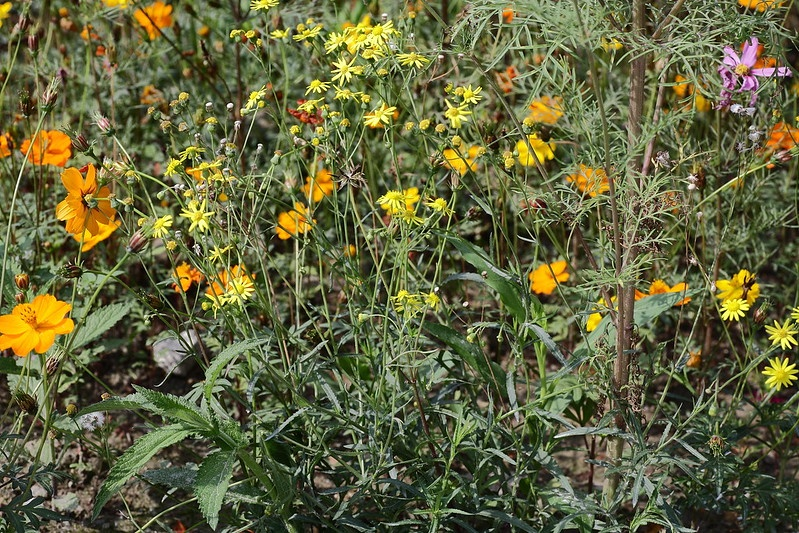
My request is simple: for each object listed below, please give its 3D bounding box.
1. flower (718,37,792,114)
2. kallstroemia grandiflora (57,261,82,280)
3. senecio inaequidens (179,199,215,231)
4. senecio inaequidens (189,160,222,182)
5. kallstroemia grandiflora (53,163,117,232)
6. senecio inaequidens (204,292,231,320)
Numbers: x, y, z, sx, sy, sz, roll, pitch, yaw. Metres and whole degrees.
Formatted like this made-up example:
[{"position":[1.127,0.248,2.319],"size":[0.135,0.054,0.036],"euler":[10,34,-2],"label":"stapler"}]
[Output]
[{"position":[1.021,-0.567,2.276],"size":[0.176,0.244,0.452],"euler":[3,34,22],"label":"flower"},{"position":[-0.918,0.013,2.203],"size":[0.032,0.040,0.066],"euler":[-1,5,6],"label":"kallstroemia grandiflora"},{"position":[-0.556,-0.126,2.220],"size":[0.084,0.026,0.099],"euler":[3,39,6],"label":"senecio inaequidens"},{"position":[-0.556,-0.270,2.242],"size":[0.088,0.050,0.089],"euler":[-5,-6,-39],"label":"senecio inaequidens"},{"position":[-0.899,-0.239,2.299],"size":[0.135,0.052,0.176],"euler":[19,50,-4],"label":"kallstroemia grandiflora"},{"position":[-0.522,0.101,2.245],"size":[0.066,0.027,0.071],"euler":[-41,44,26],"label":"senecio inaequidens"}]
